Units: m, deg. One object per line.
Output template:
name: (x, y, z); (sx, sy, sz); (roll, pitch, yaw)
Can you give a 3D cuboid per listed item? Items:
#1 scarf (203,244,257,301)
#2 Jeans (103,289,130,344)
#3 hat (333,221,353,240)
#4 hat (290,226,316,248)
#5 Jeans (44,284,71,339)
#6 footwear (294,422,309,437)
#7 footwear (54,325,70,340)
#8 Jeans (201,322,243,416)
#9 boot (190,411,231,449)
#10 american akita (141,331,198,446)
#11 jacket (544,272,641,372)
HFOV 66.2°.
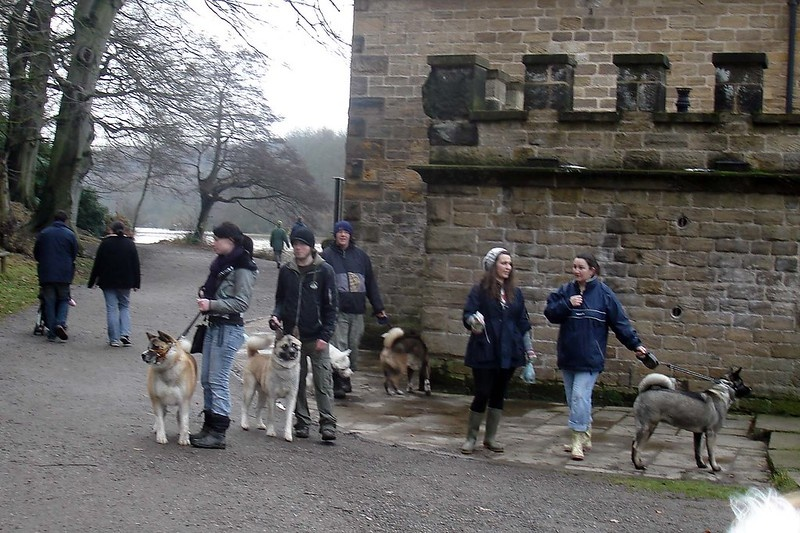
scarf: (-2.094, 0.114, 7.427); (0.624, 0.681, 0.460); (-1, -17, 46)
Jeans: (-5.675, 0.973, 12.240); (0.467, 1.068, 0.525); (3, 3, -25)
hat: (-1.018, -0.725, 10.959); (0.273, 0.265, 0.344); (3, -11, -3)
hat: (-1.294, -0.414, 8.091); (0.261, 0.198, 0.342); (8, -9, 6)
Jeans: (-6.850, 0.877, 12.158); (0.491, 1.086, 0.528); (2, 3, -28)
footwear: (-1.290, 2.131, 7.998); (0.122, 0.152, 0.237); (4, -13, -13)
footwear: (-6.677, 1.322, 12.115); (0.157, 0.336, 0.150); (-27, 26, -7)
Jeans: (-2.114, 1.201, 7.236); (0.455, 1.082, 0.446); (3, 3, -17)
boot: (-2.223, 1.878, 7.020); (0.258, 0.370, 0.517); (-14, -24, 35)
american akita: (-2.665, 1.359, 7.060); (0.562, 1.297, 0.445); (3, 3, -17)
jacket: (2.868, 0.786, 8.875); (1.881, 1.504, 0.701); (2, -13, 24)
